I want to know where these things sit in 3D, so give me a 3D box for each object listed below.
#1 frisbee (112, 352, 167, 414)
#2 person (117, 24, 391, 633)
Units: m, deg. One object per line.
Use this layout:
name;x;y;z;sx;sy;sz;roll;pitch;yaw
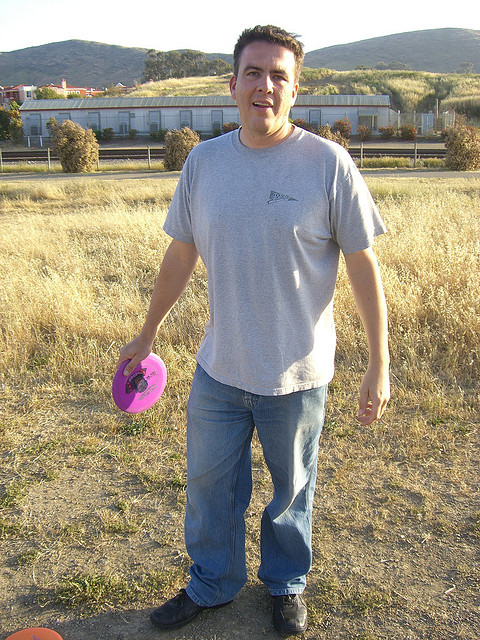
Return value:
frisbee;-0.469;0.302;3.212;0.056;0.288;0.252;27;8;36
person;0.088;0.085;2.707;0.937;2.331;0.451;0;14;8
